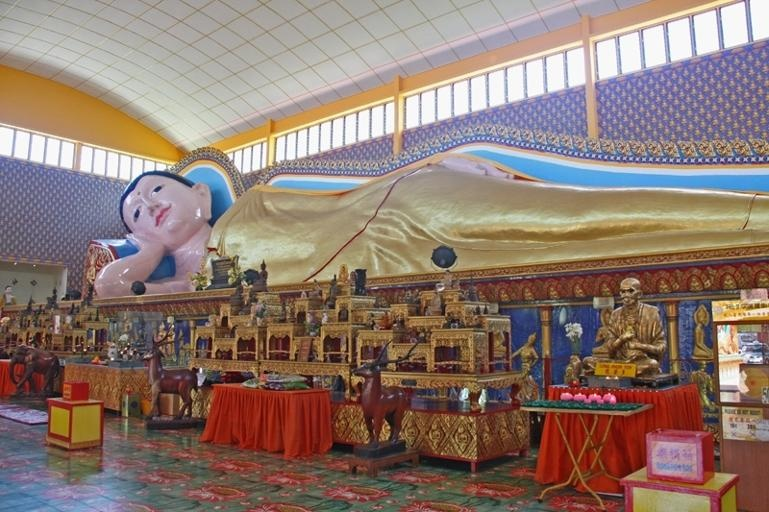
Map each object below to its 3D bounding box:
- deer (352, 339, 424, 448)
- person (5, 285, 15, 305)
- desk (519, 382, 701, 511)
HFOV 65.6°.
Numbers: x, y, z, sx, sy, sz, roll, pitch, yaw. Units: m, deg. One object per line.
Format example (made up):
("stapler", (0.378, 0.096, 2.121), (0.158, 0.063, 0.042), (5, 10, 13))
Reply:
("deer", (0.040, 1.437, 6.257), (0.496, 1.038, 0.675), (1, 4, 18))
("person", (-9.368, 0.972, 14.894), (0.216, 0.486, 1.260), (-3, 4, -32))
("desk", (2.039, 1.644, 5.596), (1.189, 0.693, 1.164), (7, -10, -36))
